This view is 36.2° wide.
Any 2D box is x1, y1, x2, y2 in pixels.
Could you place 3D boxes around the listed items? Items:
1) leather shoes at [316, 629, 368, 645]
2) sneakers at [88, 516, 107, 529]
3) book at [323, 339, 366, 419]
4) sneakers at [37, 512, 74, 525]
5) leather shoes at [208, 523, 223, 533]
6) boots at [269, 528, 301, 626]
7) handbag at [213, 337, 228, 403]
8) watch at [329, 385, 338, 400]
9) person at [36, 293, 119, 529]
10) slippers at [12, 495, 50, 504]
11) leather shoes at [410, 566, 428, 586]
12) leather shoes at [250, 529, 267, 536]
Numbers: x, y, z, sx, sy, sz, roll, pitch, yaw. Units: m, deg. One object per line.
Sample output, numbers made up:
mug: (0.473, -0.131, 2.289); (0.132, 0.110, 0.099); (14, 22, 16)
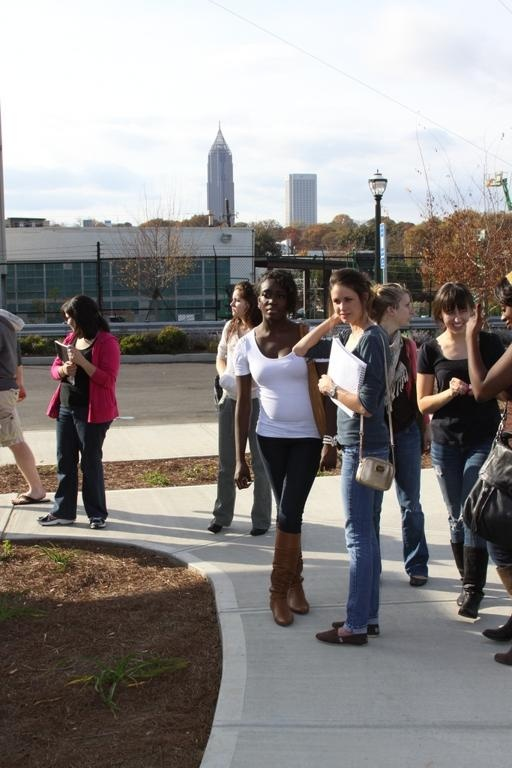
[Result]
leather shoes: (0.388, 1.112, 3.527); (0.227, 0.076, 0.085); (4, -8, 8)
sneakers: (-1.125, 0.980, 5.543); (0.116, 0.073, 0.155); (-1, 5, -13)
book: (0.396, -0.032, 3.453); (0.048, 0.285, 0.271); (-8, 37, -19)
sneakers: (-1.433, 0.968, 5.640); (0.258, 0.122, 0.095); (7, -4, -9)
leather shoes: (-0.269, 0.995, 5.444); (0.125, 0.067, 0.064); (-3, 5, -35)
boots: (0.141, 0.922, 3.792); (0.135, 0.454, 0.152); (-1, 4, -9)
handbag: (-0.240, -0.018, 5.583); (0.104, 0.298, 0.208); (0, -2, -2)
watch: (0.346, 0.037, 3.463); (0.036, 0.056, 0.052); (18, 0, 15)
person: (-1.267, 0.193, 5.626); (0.585, 1.629, 0.510); (2, 5, 29)
slippers: (-1.792, 0.919, 6.166); (0.241, 0.065, 0.111); (5, -6, -14)
leather shoes: (0.913, 1.074, 4.385); (0.072, 0.093, 0.219); (-1, -8, 10)
leather shoes: (0.016, 1.014, 5.353); (0.109, 0.048, 0.040); (8, -9, -27)
